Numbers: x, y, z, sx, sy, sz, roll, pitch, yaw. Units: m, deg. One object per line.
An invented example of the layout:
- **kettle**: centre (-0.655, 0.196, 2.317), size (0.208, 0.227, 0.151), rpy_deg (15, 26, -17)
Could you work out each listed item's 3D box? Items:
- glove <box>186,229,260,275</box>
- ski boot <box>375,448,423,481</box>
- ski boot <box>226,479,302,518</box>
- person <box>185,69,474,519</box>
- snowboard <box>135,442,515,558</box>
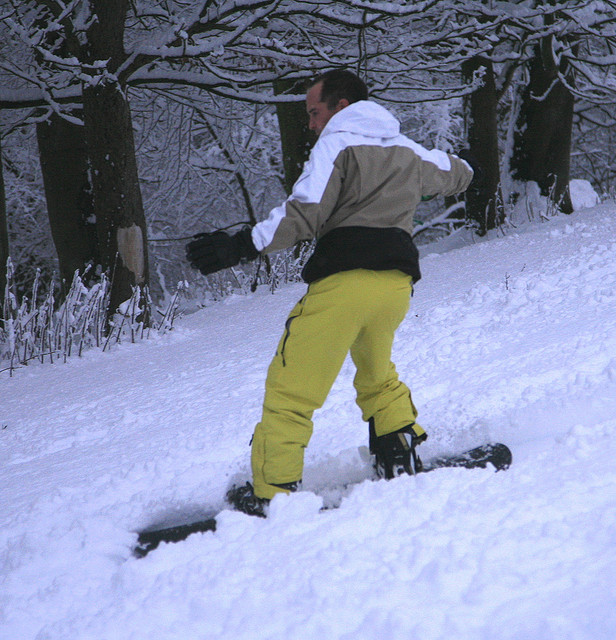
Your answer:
- **glove**: centre (-0.352, -0.278, 3.180), size (0.285, 0.159, 0.081), rpy_deg (-4, -1, -9)
- **ski boot**: centre (0.406, 0.642, 3.486), size (0.105, 0.116, 0.228), rpy_deg (-2, 4, 1)
- **ski boot**: centre (-0.209, 0.736, 3.408), size (0.304, 0.135, 0.319), rpy_deg (-5, 15, -12)
- **person**: centre (0.133, -0.076, 3.423), size (1.224, 1.671, 0.465), rpy_deg (-9, 5, -30)
- **snowboard**: centre (0.146, 0.739, 3.416), size (1.728, 0.122, 0.522), rpy_deg (-6, 4, -9)
